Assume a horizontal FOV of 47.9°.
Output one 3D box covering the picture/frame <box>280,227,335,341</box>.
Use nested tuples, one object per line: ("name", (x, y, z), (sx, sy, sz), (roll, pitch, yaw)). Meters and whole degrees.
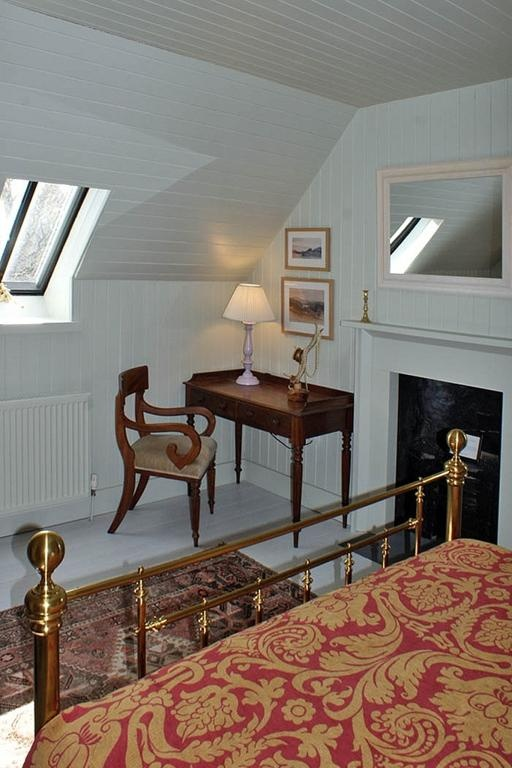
("picture/frame", (0.333, -0.700, 4.023), (0.125, 0.644, 0.585), (-4, -2, -28))

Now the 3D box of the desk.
("desk", (0.053, 0.436, 4.030), (0.591, 0.867, 1.192), (-9, 14, -41))

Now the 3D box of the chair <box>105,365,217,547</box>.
("chair", (-0.589, 0.465, 3.771), (0.765, 0.929, 0.746), (6, 2, 36))
